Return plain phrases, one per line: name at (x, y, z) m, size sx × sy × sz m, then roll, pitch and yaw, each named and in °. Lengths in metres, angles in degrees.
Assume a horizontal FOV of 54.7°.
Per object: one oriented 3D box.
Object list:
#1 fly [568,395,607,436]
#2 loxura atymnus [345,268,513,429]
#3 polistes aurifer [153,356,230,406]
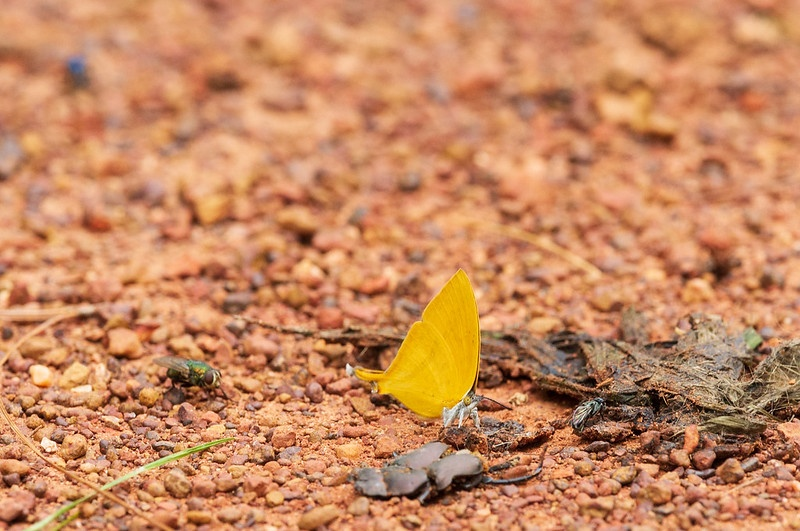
fly at (0.888, 0.669, 3.580) m, size 0.207 × 0.073 × 0.100 m, roll -39°, pitch 20°, yaw 20°
loxura atymnus at (0.079, 0.436, 3.527) m, size 0.755 × 0.674 × 0.533 m, roll 15°, pitch 34°, yaw 40°
polistes aurifer at (-1.047, 0.529, 3.802) m, size 0.353 × 0.138 × 0.254 m, roll 15°, pitch 14°, yaw 19°
